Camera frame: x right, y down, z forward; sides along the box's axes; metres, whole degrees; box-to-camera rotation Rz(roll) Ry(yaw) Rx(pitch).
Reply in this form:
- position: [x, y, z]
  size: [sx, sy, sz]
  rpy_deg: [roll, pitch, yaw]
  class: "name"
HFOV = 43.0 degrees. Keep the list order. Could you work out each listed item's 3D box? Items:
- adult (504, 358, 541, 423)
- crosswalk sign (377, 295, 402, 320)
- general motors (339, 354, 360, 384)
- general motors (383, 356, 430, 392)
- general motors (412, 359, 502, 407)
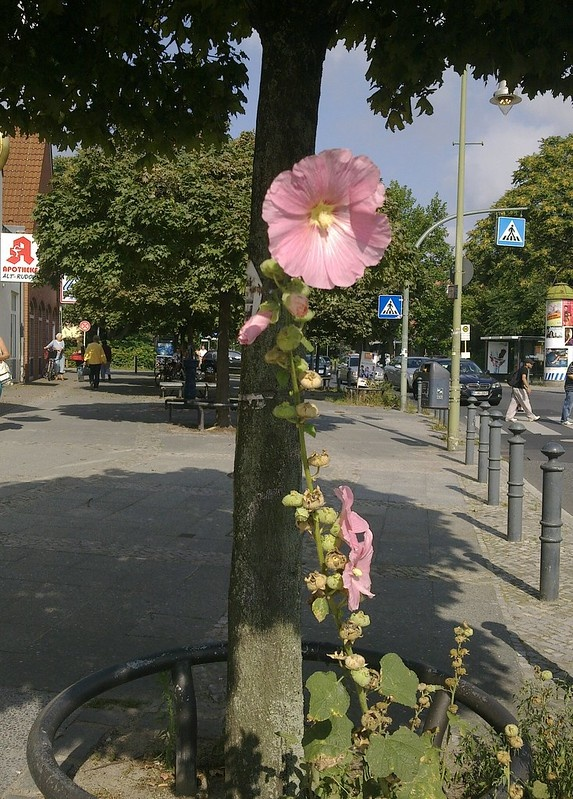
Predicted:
- position: [6.691, -0.288, 20.695]
  size: [0.830, 1.731, 4.512]
  rpy_deg: [3, 4, 19]
  class: "adult"
- position: [3.056, -2.786, 21.461]
  size: [0.633, 0.632, 0.355]
  rpy_deg: [2, 4, 3]
  class: "crosswalk sign"
- position: [3.200, -1.600, 37.252]
  size: [0.958, 0.918, 2.120]
  rpy_deg: [0, -1, -12]
  class: "general motors"
- position: [5.417, -1.294, 34.363]
  size: [1.424, 1.210, 3.173]
  rpy_deg: [0, -1, -24]
  class: "general motors"
- position: [6.376, -0.553, 27.430]
  size: [2.304, 1.788, 5.220]
  rpy_deg: [0, -1, -11]
  class: "general motors"
